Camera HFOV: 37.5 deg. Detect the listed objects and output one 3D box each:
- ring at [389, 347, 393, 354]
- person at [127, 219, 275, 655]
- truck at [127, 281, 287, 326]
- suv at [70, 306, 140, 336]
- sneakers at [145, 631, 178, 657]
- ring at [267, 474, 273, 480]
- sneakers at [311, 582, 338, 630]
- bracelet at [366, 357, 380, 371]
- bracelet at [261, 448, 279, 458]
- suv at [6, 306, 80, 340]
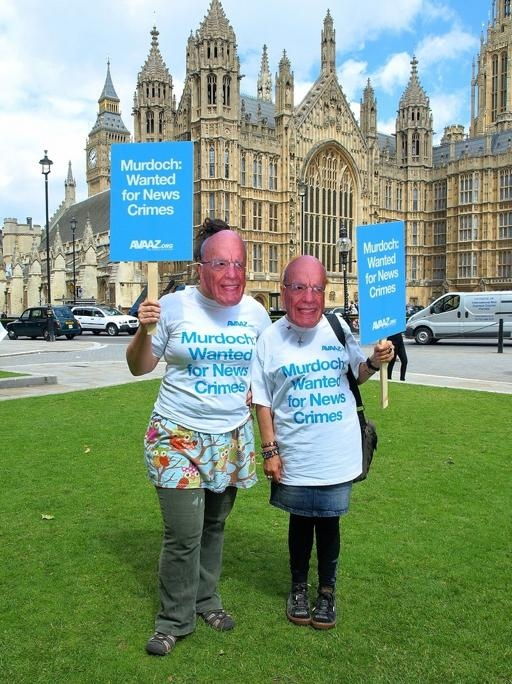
[{"bbox_3d":[0.676,0.038,3.768,0.019,0.022,0.023,-14,-28,-17],"label":"ring"},{"bbox_3d":[-0.252,0.402,3.595,0.670,1.937,0.448,-1,4,-27],"label":"person"},{"bbox_3d":[-3.737,-2.485,43.209,5.875,2.354,4.371,1,3,3],"label":"truck"},{"bbox_3d":[-7.098,-0.961,34.783,3.004,1.261,1.429,0,3,42],"label":"suv"},{"bbox_3d":[-0.429,1.357,3.392,0.118,0.064,0.157,1,5,8],"label":"sneakers"},{"bbox_3d":[0.069,0.665,3.690,0.022,0.009,0.034,1,1,3],"label":"ring"},{"bbox_3d":[0.329,1.280,3.656,0.123,0.175,0.170,1,4,6],"label":"sneakers"},{"bbox_3d":[0.581,0.108,3.727,0.057,0.027,0.055,0,31,8],"label":"bracelet"},{"bbox_3d":[0.072,0.534,3.630,0.081,0.065,0.105,0,-3,-1],"label":"bracelet"},{"bbox_3d":[-9.294,-0.877,32.380,3.111,1.480,1.582,4,5,33],"label":"suv"}]
